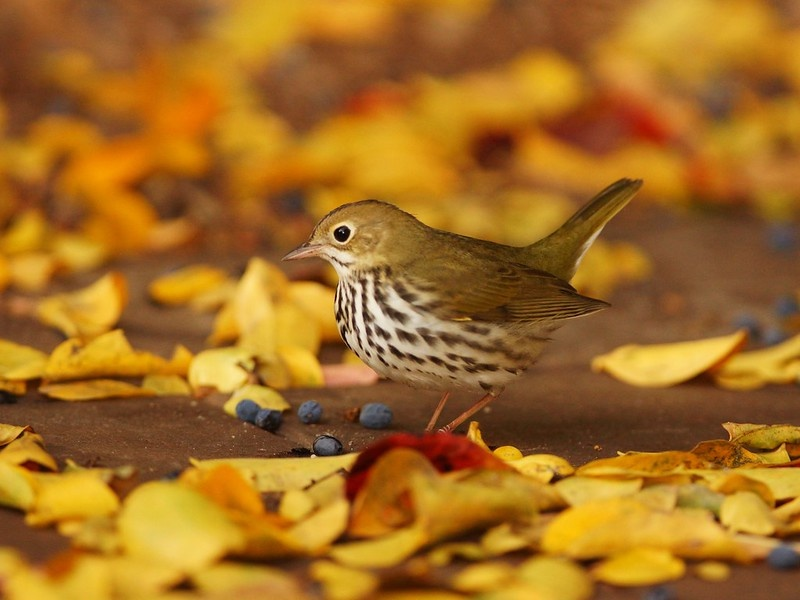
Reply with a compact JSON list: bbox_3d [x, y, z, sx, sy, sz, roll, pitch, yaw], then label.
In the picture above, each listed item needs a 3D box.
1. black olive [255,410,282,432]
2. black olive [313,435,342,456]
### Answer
[{"bbox_3d":[-0.413,0.384,2.893,0.083,0.032,0.086,17,0,-6],"label":"black olive"},{"bbox_3d":[-0.233,0.440,2.788,0.079,0.071,0.032,32,-40,39],"label":"black olive"}]
